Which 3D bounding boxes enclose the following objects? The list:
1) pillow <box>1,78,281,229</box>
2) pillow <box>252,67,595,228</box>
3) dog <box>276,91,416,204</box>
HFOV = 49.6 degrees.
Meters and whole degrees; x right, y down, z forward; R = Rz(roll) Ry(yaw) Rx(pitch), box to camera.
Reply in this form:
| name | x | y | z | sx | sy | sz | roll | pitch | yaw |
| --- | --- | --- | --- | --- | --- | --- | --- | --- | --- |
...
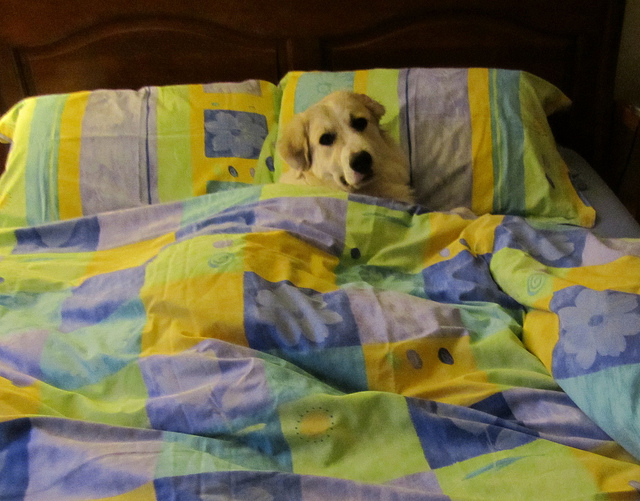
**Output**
| name | x | y | z | sx | sy | sz | roll | pitch | yaw |
| --- | --- | --- | --- | --- | --- | --- | --- | --- | --- |
| pillow | -0.722 | -0.323 | 3.162 | 1.303 | 0.791 | 0.808 | -2 | 25 | 2 |
| pillow | 0.496 | -0.751 | 3.051 | 1.334 | 0.641 | 0.814 | 1 | 31 | 0 |
| dog | 0.092 | -0.372 | 2.641 | 0.381 | 0.188 | 0.498 | -25 | 27 | -4 |
